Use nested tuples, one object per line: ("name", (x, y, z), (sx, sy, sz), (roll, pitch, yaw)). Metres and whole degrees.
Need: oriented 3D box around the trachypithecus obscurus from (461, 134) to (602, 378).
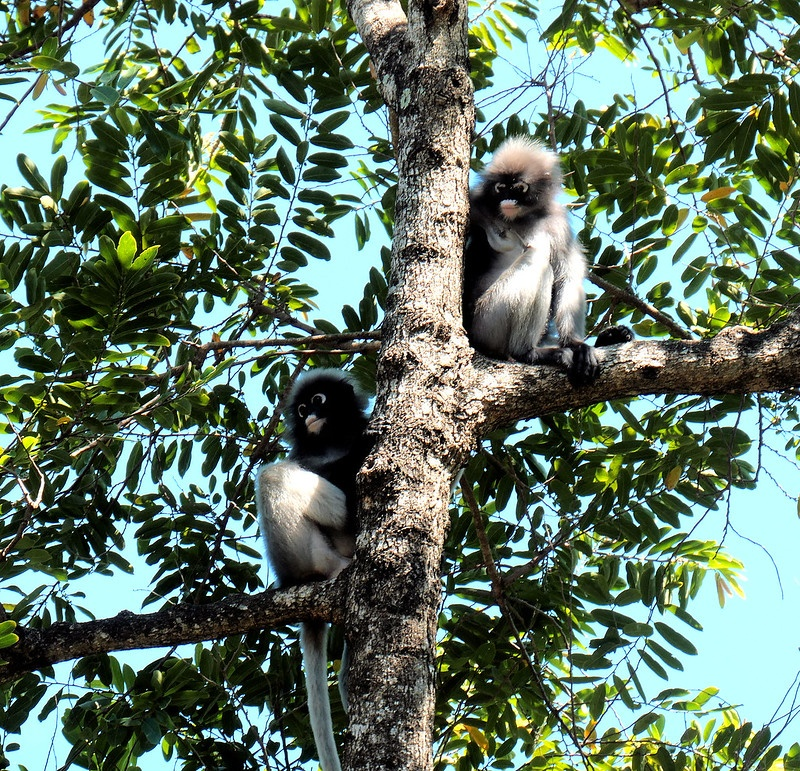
("trachypithecus obscurus", (0.519, -0.543, 6.854), (0.567, 1.310, 0.388), (-2, -42, 9))
